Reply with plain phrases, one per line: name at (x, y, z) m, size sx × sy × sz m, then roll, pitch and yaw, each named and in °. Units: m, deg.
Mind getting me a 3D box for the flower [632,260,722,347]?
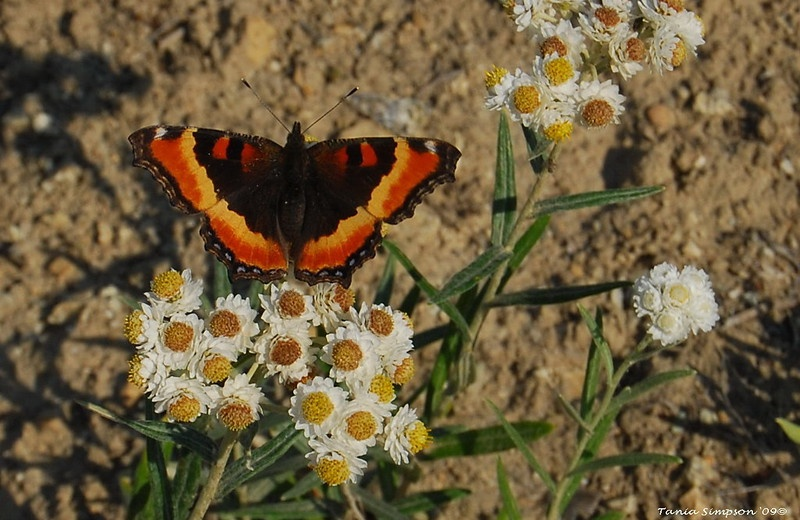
flower at (1.653, 0.250, 5.337) m, size 0.440 × 0.185 × 0.528 m, roll -1°, pitch 86°, yaw 9°
